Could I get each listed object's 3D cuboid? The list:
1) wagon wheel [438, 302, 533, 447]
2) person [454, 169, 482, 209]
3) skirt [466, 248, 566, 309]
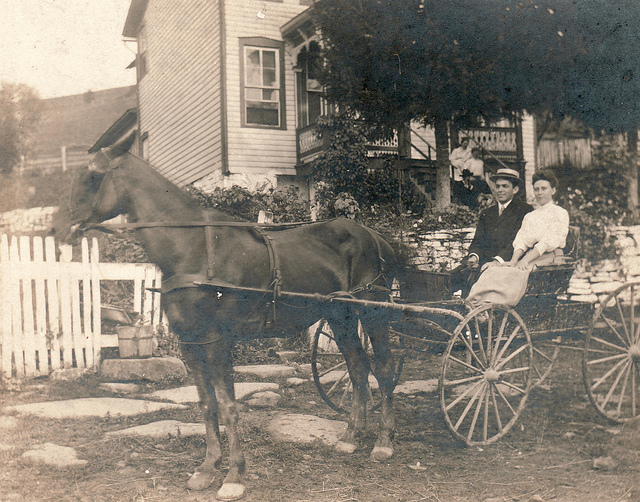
[{"bbox_3d":[2.014,1.480,13.356,1.508,1.396,0.414,-18,8,-26],"label":"wagon wheel"},{"bbox_3d":[2.713,-1.137,20.366,0.557,0.706,0.297,1,6,20],"label":"person"},{"bbox_3d":[2.340,0.436,13.335,0.929,0.242,0.665,-21,16,0],"label":"skirt"}]
